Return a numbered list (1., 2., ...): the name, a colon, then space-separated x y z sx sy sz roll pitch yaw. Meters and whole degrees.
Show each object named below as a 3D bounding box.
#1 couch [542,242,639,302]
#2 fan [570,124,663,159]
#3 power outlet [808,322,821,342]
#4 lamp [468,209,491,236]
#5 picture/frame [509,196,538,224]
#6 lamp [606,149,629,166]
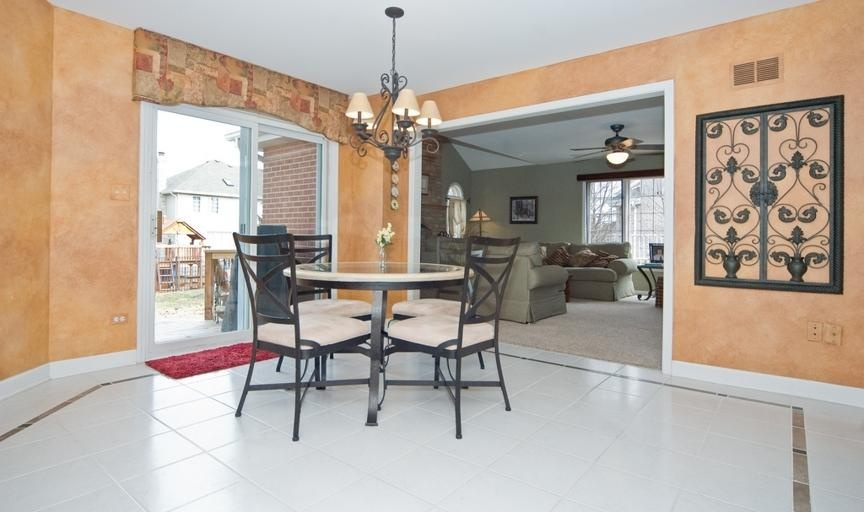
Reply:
1. couch: 2.634 0.222 9.674 1.677 0.776 0.886 2 13 32
2. fan: 2.916 -1.803 8.544 1.309 0.397 1.064 1 18 29
3. power outlet: 3.524 0.694 5.080 0.111 0.178 0.026 1 5 18
4. lamp: 0.997 -0.742 11.797 0.458 0.560 0.907 0 3 5
5. picture/frame: 1.941 -0.986 11.628 0.751 0.601 0.053 0 -2 32
6. lamp: 2.885 -1.529 8.535 0.309 0.210 0.337 0 3 18
